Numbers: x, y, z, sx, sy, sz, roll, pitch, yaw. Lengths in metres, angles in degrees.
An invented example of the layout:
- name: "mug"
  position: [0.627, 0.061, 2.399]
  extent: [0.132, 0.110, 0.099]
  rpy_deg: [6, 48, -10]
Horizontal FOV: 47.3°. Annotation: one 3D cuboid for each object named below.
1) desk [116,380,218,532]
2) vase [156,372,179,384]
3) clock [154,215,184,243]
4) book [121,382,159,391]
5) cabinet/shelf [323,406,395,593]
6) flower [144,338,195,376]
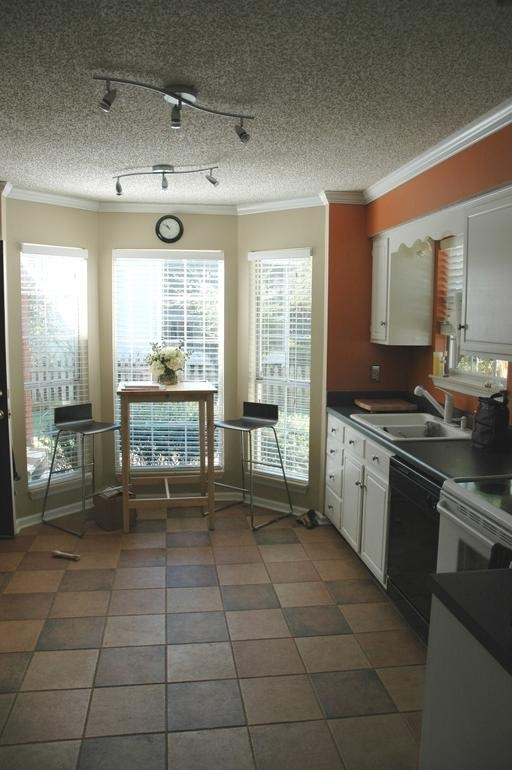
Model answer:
- name: "desk"
  position: [-0.666, 0.481, 4.341]
  extent: [0.710, 0.939, 0.710]
  rpy_deg: [-1, 5, -18]
- name: "vase"
  position: [-0.635, -0.039, 4.202]
  extent: [0.102, 0.099, 0.101]
  rpy_deg: [1, -1, -22]
- name: "clock"
  position: [-0.689, -1.233, 4.644]
  extent: [0.209, 0.212, 0.211]
  rpy_deg: [-1, 2, 2]
- name: "book"
  position: [-0.803, 0.015, 4.033]
  extent: [0.262, 0.029, 0.268]
  rpy_deg: [-1, 5, -12]
- name: "cabinet/shelf"
  position: [0.610, 0.682, 3.429]
  extent: [0.352, 0.762, 0.910]
  rpy_deg: [2, 6, -5]
- name: "flower"
  position: [-0.661, -0.193, 4.343]
  extent: [0.280, 0.293, 0.334]
  rpy_deg: [0, 3, -37]
